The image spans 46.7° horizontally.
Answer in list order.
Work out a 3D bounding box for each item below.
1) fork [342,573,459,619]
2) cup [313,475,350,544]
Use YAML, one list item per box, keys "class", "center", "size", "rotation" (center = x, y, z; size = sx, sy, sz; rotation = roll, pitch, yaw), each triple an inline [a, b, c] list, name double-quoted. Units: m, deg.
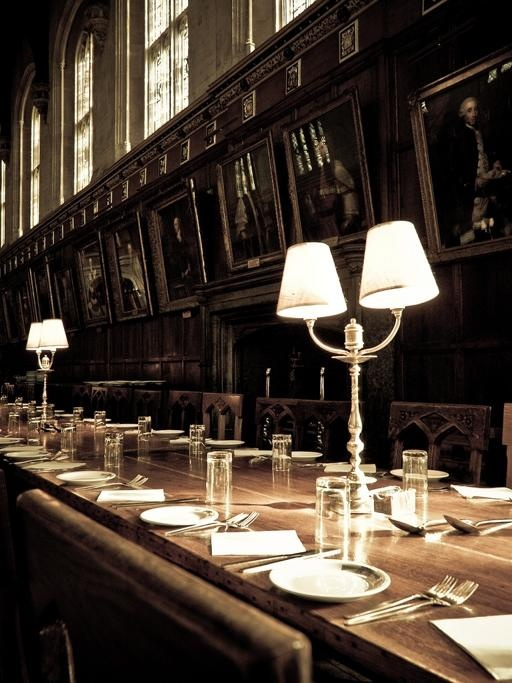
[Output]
- class: "fork"
  center: [0.240, 0.384, 0.916]
  size: [0.164, 0.030, 0.024]
  rotation: [3, 0, -23]
- class: "cup"
  center: [0.148, 0.328, 1.147]
  size: [0.070, 0.162, 0.107]
  rotation: [0, -6, 5]
